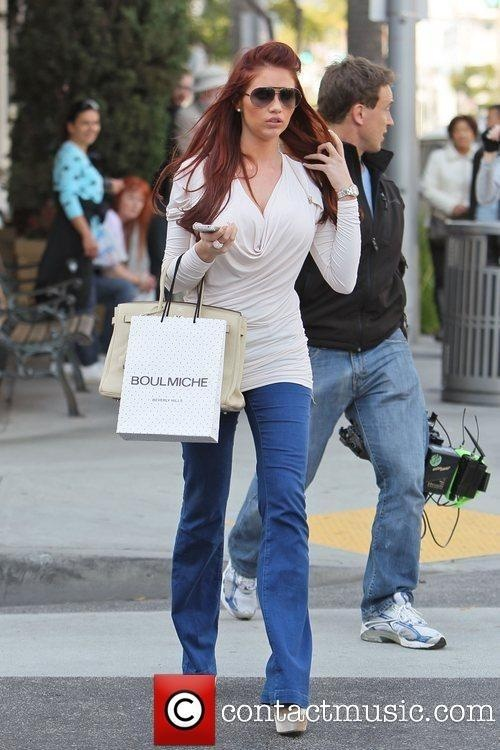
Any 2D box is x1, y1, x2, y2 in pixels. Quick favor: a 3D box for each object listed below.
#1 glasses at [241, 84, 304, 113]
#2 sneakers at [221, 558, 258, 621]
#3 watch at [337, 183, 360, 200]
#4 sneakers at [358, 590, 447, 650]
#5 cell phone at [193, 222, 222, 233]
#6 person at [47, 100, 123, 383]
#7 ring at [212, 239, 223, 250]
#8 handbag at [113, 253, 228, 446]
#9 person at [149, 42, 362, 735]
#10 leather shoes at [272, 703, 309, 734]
[{"bbox_3d":[0.048,-0.729,2.224,0.126,0.041,0.124,-2,1,-26],"label":"glasses"},{"bbox_3d":[-0.049,0.862,3.352,0.126,0.293,0.140,0,12,-26],"label":"sneakers"},{"bbox_3d":[0.273,-0.515,2.389,0.049,0.027,0.045,-10,5,34],"label":"watch"},{"bbox_3d":[0.548,0.894,3.040,0.131,0.177,0.332,17,-16,-43],"label":"sneakers"},{"bbox_3d":[-0.105,-0.335,1.928,0.063,0.025,0.096,-4,17,-13],"label":"cell phone"},{"bbox_3d":[-1.387,-1.284,7.320,0.768,1.953,0.637,6,21,10],"label":"person"},{"bbox_3d":[-0.075,-0.300,1.953,0.024,0.024,0.015,-2,18,-4],"label":"ring"},{"bbox_3d":[-0.185,0.004,1.993,0.240,0.255,0.180,0,18,3],"label":"handbag"},{"bbox_3d":[0.002,0.106,2.294,0.554,1.935,1.096,1,18,6],"label":"person"},{"bbox_3d":[0.095,0.815,1.999,0.049,0.054,0.127,-1,-15,-5],"label":"leather shoes"}]
